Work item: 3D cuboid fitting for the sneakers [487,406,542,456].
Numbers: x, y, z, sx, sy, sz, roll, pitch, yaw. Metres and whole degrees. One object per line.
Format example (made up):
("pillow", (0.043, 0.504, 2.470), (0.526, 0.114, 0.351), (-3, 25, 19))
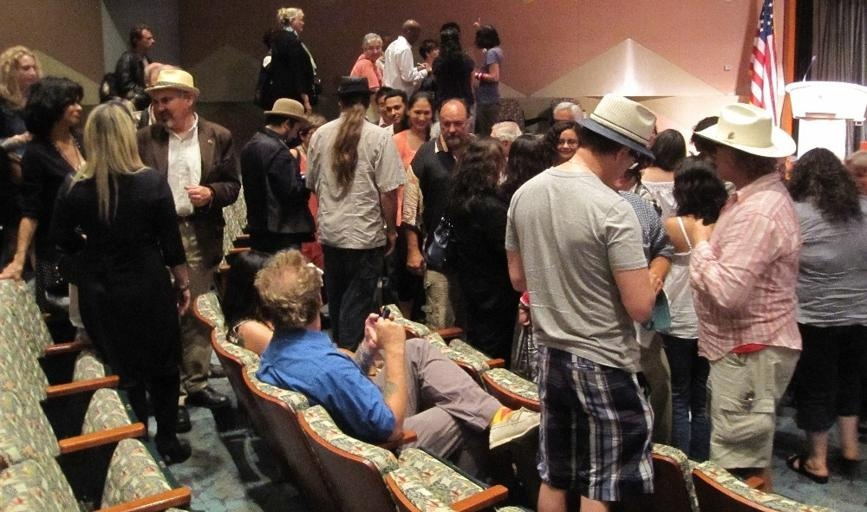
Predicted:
("sneakers", (0.388, 0.951, 3.493), (0.387, 0.173, 0.141), (-27, -6, 3))

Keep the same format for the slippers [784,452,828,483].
("slippers", (2.622, 1.499, 4.421), (0.110, 0.075, 0.233), (-16, 30, -23))

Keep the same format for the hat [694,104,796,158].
("hat", (1.780, -0.626, 3.618), (0.418, 0.152, 0.381), (28, 41, 35))

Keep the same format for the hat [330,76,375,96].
("hat", (-0.635, -1.351, 5.013), (0.238, 0.176, 0.283), (-2, 8, -8))

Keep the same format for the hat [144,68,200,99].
("hat", (-1.997, -1.348, 4.849), (0.329, 0.237, 0.406), (-3, 8, -10))

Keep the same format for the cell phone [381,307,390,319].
("cell phone", (-0.269, 0.321, 3.510), (0.040, 0.062, 0.062), (4, 29, -18))

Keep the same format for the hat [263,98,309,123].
("hat", (-1.215, -1.189, 5.117), (0.273, 0.098, 0.247), (13, 6, 21))

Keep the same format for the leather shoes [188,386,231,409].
("leather shoes", (-1.722, 1.094, 4.886), (0.393, 0.162, 0.142), (0, 10, 3))

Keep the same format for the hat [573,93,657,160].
("hat", (0.949, -0.597, 3.205), (0.349, 0.147, 0.341), (24, 13, -12))

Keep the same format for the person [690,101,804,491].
("person", (1.800, 0.284, 3.647), (0.605, 2.292, 0.376), (1, 8, 16))
